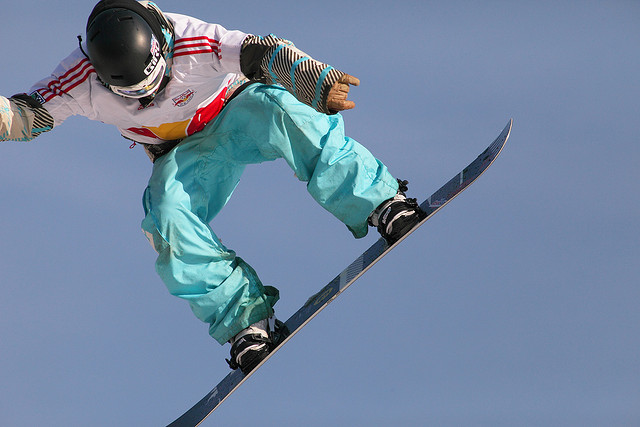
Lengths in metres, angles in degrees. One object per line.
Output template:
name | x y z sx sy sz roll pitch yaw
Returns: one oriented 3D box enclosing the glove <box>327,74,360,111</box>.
glove | 0.126 -0.678 5.978 0.170 0.186 0.095 -1 -22 1
